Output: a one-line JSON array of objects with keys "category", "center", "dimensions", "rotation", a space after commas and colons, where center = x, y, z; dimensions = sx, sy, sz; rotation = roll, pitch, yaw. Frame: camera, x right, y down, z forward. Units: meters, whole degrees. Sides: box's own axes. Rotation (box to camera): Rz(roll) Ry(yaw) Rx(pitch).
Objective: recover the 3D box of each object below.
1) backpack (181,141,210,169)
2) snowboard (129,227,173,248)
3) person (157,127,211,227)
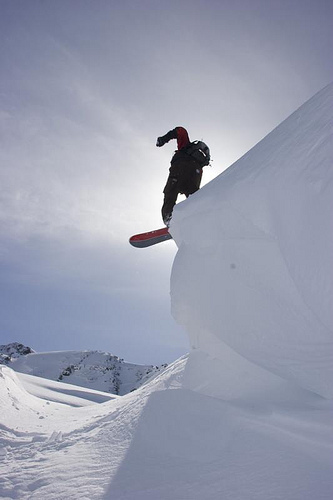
[{"category": "backpack", "center": [0.646, -1.823, 10.016], "dimensions": [0.516, 0.460, 0.565], "rotation": [17, -16, -37]}, {"category": "snowboard", "center": [-0.316, -0.216, 9.908], "dimensions": [0.452, 0.317, 1.212], "rotation": [13, -14, -25]}, {"category": "person", "center": [0.269, -1.420, 9.972], "dimensions": [1.003, 2.192, 0.774], "rotation": [7, -13, 1]}]
